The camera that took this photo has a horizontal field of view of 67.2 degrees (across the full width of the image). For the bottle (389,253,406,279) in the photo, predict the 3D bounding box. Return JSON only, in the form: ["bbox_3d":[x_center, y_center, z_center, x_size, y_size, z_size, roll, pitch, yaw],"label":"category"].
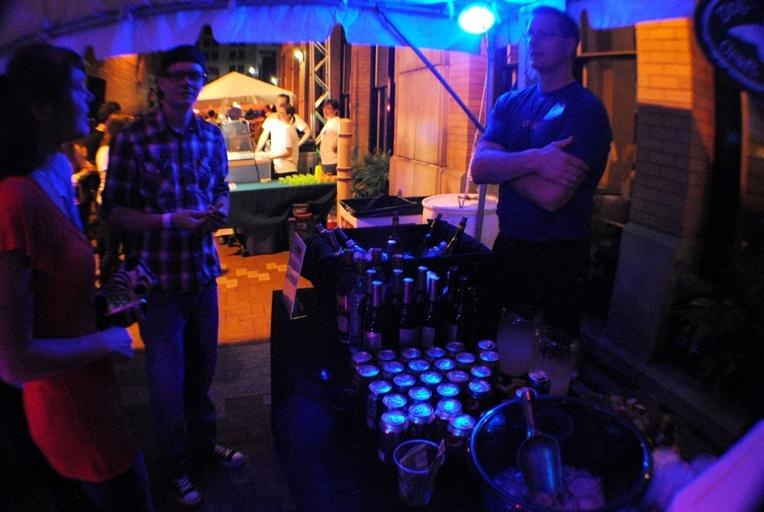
[{"bbox_3d":[0.069,0.050,2.547,0.080,0.133,0.079,1,5,0],"label":"bottle"}]

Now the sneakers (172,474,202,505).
[{"bbox_3d":[-1.134,1.325,3.319,0.099,0.104,0.227,-9,12,-38],"label":"sneakers"}]

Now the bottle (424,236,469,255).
[{"bbox_3d":[0.323,-0.048,3.052,0.168,0.107,0.223,-2,15,-7],"label":"bottle"}]

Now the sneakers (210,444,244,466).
[{"bbox_3d":[-0.934,1.227,3.558,0.242,0.108,0.091,1,4,10],"label":"sneakers"}]

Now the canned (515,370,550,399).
[{"bbox_3d":[0.559,0.476,2.113,0.115,0.114,0.068,-8,18,-10],"label":"canned"}]

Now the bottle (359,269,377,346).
[{"bbox_3d":[-0.049,0.221,2.495,0.083,0.333,0.182,-2,13,-7],"label":"bottle"}]

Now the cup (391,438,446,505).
[{"bbox_3d":[0.141,0.712,1.989,0.193,0.206,0.192,0,-5,0],"label":"cup"}]

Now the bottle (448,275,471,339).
[{"bbox_3d":[0.340,0.230,2.505,0.093,0.294,0.074,1,13,7],"label":"bottle"}]

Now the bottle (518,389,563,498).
[{"bbox_3d":[0.497,0.585,1.828,0.095,0.045,0.330,-2,47,6],"label":"bottle"}]

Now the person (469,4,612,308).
[{"bbox_3d":[0.828,-0.528,3.139,0.413,1.576,0.669,-13,18,-42],"label":"person"}]

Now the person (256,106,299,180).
[{"bbox_3d":[-1.514,-1.599,8.378,0.576,0.938,1.030,-3,14,-10],"label":"person"}]

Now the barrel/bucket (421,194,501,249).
[{"bbox_3d":[0.620,-0.327,4.504,0.480,0.529,0.484,1,7,0],"label":"barrel/bucket"}]
